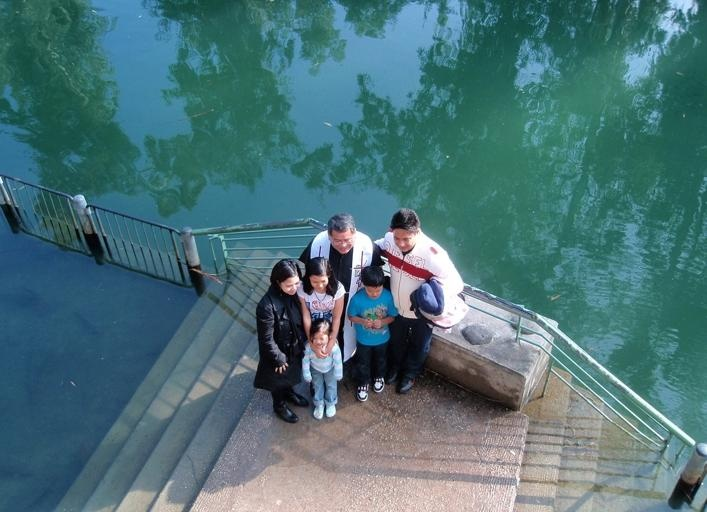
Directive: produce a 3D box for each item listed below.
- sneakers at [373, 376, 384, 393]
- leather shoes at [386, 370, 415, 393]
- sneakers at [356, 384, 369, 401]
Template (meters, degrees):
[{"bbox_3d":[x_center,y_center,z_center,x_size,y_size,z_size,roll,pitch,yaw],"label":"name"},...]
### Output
[{"bbox_3d":[0.319,1.650,6.706,0.087,0.086,0.215,-2,53,9],"label":"sneakers"},{"bbox_3d":[0.618,1.617,6.757,0.176,0.191,0.405,5,0,-41],"label":"leather shoes"},{"bbox_3d":[0.111,1.699,6.658,0.090,0.096,0.269,0,63,3],"label":"sneakers"}]
